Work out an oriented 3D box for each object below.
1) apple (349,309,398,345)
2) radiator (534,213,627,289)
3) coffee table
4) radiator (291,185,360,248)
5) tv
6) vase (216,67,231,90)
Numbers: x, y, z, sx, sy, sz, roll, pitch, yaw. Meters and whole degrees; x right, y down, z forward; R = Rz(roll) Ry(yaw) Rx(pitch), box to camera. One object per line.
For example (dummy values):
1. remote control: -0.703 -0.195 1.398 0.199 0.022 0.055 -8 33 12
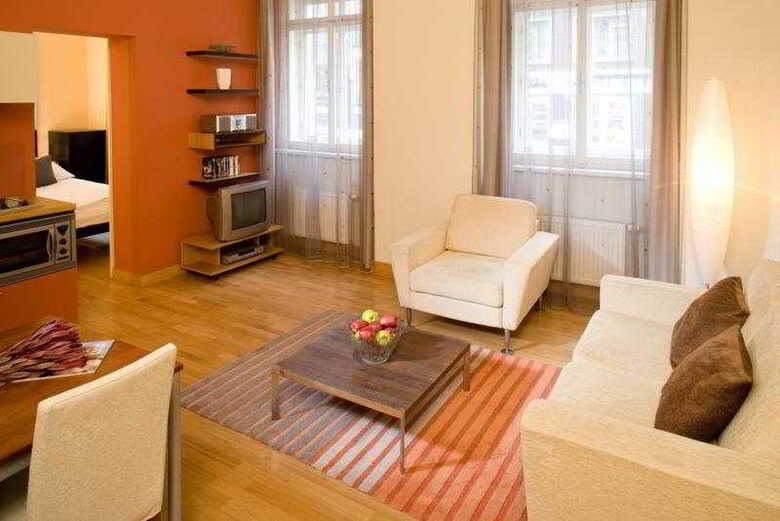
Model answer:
1. apple: -0.115 0.466 3.955 0.240 0.151 0.259 0 4 -2
2. radiator: 1.839 -0.118 5.419 0.657 0.596 0.077 5 13 21
3. coffee table: 0.003 0.652 4.027 1.011 0.398 1.058 10 22 29
4. radiator: -0.759 -0.566 6.986 0.689 0.494 0.056 5 10 20
5. tv: -1.699 -0.588 6.645 0.109 0.623 0.755 13 23 32
6. vase: -1.914 -2.103 6.568 0.170 0.220 0.431 -5 22 -16
